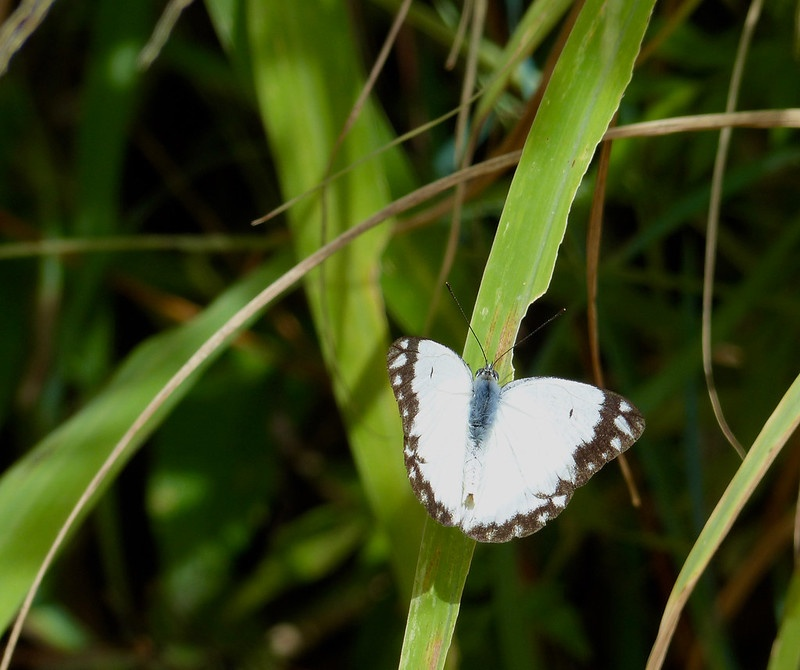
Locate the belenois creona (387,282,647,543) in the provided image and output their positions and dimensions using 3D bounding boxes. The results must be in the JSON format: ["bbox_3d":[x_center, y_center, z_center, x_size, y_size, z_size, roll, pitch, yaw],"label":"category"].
[{"bbox_3d":[0.125,0.125,1.082,0.249,0.287,0.084,7,18,-4],"label":"belenois creona"}]
